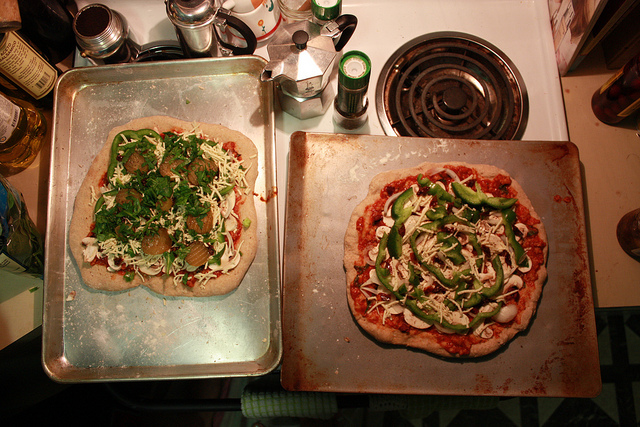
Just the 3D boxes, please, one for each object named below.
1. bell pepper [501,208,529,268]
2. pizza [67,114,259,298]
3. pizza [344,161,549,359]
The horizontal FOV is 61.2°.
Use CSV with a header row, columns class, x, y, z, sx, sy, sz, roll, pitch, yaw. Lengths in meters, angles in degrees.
class,x,y,z,sx,sy,sz,roll,pitch,yaw
bell pepper,1.342,0.167,3.799,0.181,0.366,0.277,3,31,4
pizza,-1.128,-0.081,3.956,1.399,1.327,0.148,4,-9,2
pizza,0.871,0.344,3.657,1.278,1.396,0.227,3,-10,0
